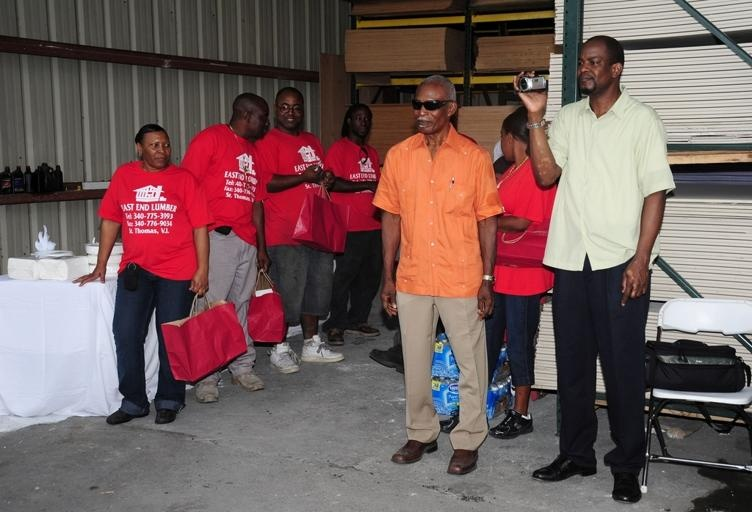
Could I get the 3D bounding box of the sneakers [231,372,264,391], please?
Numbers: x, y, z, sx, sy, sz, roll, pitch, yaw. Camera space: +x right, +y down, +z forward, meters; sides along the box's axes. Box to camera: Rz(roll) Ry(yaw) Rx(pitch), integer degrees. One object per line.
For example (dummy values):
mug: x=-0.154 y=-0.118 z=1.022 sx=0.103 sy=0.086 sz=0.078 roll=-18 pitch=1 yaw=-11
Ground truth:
sneakers: x=-1.112 y=1.114 z=5.609 sx=0.333 sy=0.133 sz=0.124 roll=5 pitch=10 yaw=38

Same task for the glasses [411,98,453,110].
glasses: x=0.365 y=-0.983 z=4.072 sx=0.237 sy=0.070 sz=0.059 roll=1 pitch=13 yaw=5

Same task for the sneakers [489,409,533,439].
sneakers: x=1.049 y=1.287 z=4.852 sx=0.353 sy=0.163 sz=0.154 roll=-1 pitch=-1 yaw=-33

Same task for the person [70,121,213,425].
person: x=-1.757 y=0.128 z=4.988 sx=0.905 sy=2.303 sz=0.660 roll=-6 pitch=14 yaw=-23

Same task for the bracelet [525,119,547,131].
bracelet: x=1.021 y=-0.833 z=4.010 sx=0.136 sy=0.051 sz=0.133 roll=-12 pitch=8 yaw=-29

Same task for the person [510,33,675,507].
person: x=1.422 y=0.080 z=4.005 sx=0.767 sy=2.857 sz=0.614 roll=6 pitch=15 yaw=24

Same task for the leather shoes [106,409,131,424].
leather shoes: x=-2.020 y=1.263 z=4.955 sx=0.094 sy=0.065 sz=0.175 roll=0 pitch=-6 yaw=39

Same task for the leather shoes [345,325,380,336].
leather shoes: x=-0.132 y=0.836 z=7.183 sx=0.382 sy=0.133 sz=0.139 roll=-1 pitch=0 yaw=14

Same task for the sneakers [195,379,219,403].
sneakers: x=-1.428 y=1.145 z=5.355 sx=0.220 sy=0.183 sz=0.422 roll=0 pitch=-12 yaw=-14

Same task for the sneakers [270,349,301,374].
sneakers: x=-0.855 y=1.008 z=6.017 sx=0.154 sy=0.138 sz=0.311 roll=-4 pitch=5 yaw=-41

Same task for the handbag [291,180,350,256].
handbag: x=-0.531 y=-0.366 z=5.897 sx=0.226 sy=0.658 sz=0.636 roll=5 pitch=-14 yaw=33

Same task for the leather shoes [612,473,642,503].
leather shoes: x=1.609 y=1.470 z=3.999 sx=0.175 sy=0.149 sz=0.155 roll=5 pitch=14 yaw=21

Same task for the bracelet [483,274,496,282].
bracelet: x=0.761 y=0.146 z=4.171 sx=0.097 sy=0.054 sz=0.036 roll=-7 pitch=15 yaw=-29

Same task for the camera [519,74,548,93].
camera: x=0.978 y=-1.064 z=3.864 sx=0.178 sy=0.098 sz=0.140 roll=0 pitch=13 yaw=0

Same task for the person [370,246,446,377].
person: x=0.254 y=0.425 z=4.803 sx=0.400 sy=0.379 sz=1.268 roll=15 pitch=40 yaw=12

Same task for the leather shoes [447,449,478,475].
leather shoes: x=0.587 y=1.395 z=4.259 sx=0.104 sy=0.102 sz=0.253 roll=-1 pitch=-4 yaw=25

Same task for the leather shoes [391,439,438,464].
leather shoes: x=0.268 y=1.371 z=4.470 sx=0.343 sy=0.156 sz=0.137 roll=-4 pitch=5 yaw=-31

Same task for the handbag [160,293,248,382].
handbag: x=-1.368 y=0.595 z=4.999 sx=0.262 sy=0.635 sz=0.667 roll=0 pitch=13 yaw=33

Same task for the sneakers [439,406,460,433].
sneakers: x=0.589 y=1.279 z=4.894 sx=0.134 sy=0.139 sz=0.350 roll=-7 pitch=-15 yaw=21

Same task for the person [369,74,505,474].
person: x=0.420 y=0.138 z=4.230 sx=0.811 sy=2.626 sz=0.579 roll=2 pitch=14 yaw=10

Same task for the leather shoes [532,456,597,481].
leather shoes: x=1.257 y=1.430 z=4.299 sx=0.454 sy=0.189 sz=0.164 roll=1 pitch=-5 yaw=-4
